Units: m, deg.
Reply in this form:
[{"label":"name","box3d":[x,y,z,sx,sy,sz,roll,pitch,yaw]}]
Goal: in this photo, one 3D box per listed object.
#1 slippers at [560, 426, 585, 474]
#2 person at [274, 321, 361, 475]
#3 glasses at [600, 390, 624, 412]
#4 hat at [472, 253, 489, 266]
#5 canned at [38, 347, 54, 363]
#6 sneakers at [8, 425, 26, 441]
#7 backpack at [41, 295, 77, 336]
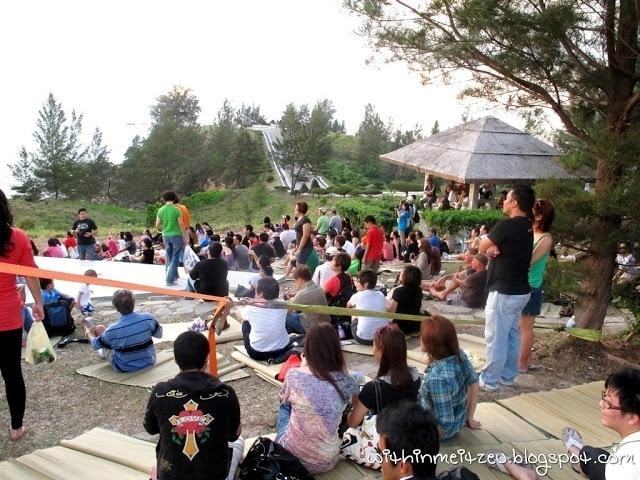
[{"label":"slippers","box3d":[2.175,1.763,3.681,0.158,0.409,0.112,-23,-25,27]},{"label":"person","box3d":[-0.017,1.326,3.568,0.579,1.213,0.409,-6,10,-40]},{"label":"glasses","box3d":[2.188,1.211,3.207,0.117,0.035,0.115,12,12,0]},{"label":"hat","box3d":[2.915,0.343,7.767,0.239,0.110,0.177,34,16,22]},{"label":"canned","box3d":[-3.098,1.292,4.884,0.167,0.176,0.181,-1,-5,-5]},{"label":"sneakers","box3d":[-3.067,1.957,4.371,0.077,0.149,0.144,18,-39,-7]},{"label":"backpack","box3d":[-4.203,1.254,6.857,0.414,0.621,0.254,-5,9,-34]}]
